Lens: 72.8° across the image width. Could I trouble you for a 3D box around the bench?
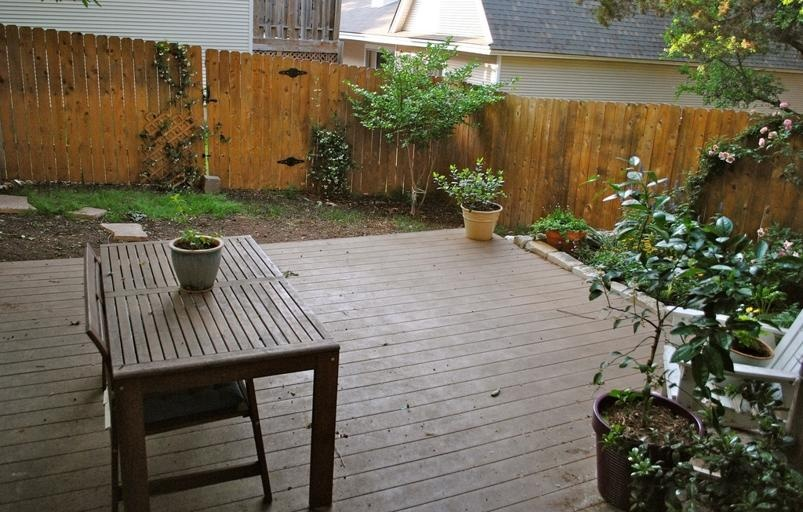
[{"bbox_3d":[-1.464,0.831,3.591,0.908,1.125,1.426,-6,28,-17],"label":"bench"}]
